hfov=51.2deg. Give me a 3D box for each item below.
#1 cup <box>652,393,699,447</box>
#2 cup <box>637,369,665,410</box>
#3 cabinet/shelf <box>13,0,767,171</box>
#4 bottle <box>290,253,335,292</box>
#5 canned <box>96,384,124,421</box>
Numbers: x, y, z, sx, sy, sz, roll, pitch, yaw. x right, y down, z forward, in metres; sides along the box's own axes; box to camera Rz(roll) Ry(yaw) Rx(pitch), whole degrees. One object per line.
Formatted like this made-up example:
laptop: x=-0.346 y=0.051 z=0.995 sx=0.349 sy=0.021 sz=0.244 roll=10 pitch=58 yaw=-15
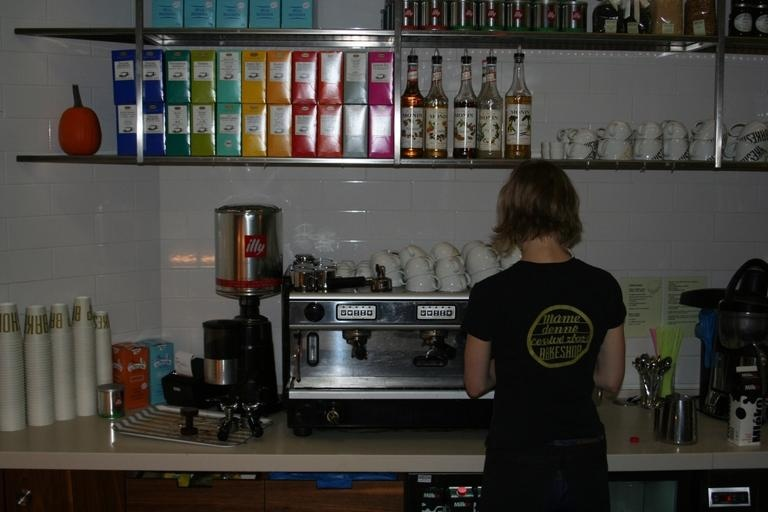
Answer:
cup: x=1.110 y=0.632 z=3.117 sx=0.202 sy=0.170 sz=0.150 roll=0 pitch=7 yaw=-7
cup: x=1.171 y=0.579 z=3.467 sx=0.133 sy=0.180 sz=0.122 roll=9 pitch=-16 yaw=2
cabinet/shelf: x=0.083 y=-0.701 z=3.398 sx=3.032 sy=0.710 sz=0.429 roll=-1 pitch=2 yaw=2
bottle: x=-0.289 y=0.068 z=3.210 sx=0.136 sy=0.062 sz=0.177 roll=2 pitch=10 yaw=0
canned: x=-1.122 y=0.598 z=3.268 sx=0.134 sy=0.133 sz=0.128 roll=0 pitch=0 yaw=1
